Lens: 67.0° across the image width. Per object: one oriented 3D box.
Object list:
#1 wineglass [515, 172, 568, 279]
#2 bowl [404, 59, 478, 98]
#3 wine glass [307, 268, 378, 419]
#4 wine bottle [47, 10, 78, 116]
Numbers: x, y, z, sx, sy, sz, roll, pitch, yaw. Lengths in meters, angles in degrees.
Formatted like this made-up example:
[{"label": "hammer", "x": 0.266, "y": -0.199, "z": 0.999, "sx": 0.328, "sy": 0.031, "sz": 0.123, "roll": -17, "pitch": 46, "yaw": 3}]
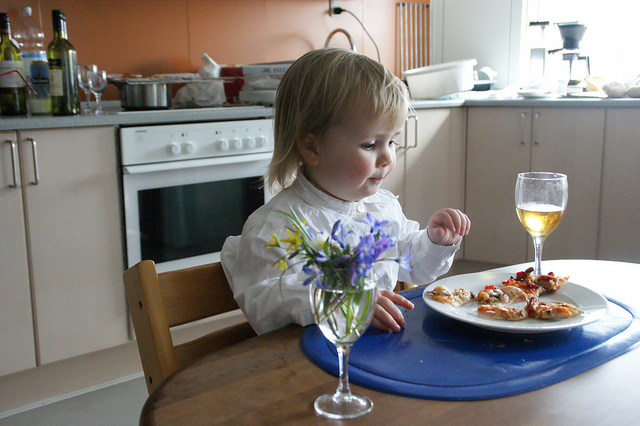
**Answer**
[{"label": "wineglass", "x": 0.513, "y": 0.036, "z": 1.131, "sx": 0.095, "sy": 0.257, "sz": 0.108, "roll": -3, "pitch": 9, "yaw": -21}, {"label": "bowl", "x": 0.755, "y": -0.829, "z": 3.012, "sx": 0.370, "sy": 0.153, "sz": 0.335, "roll": -21, "pitch": 11, "yaw": 0}, {"label": "wine glass", "x": 0.038, "y": 0.188, "z": 0.748, "sx": 0.105, "sy": 0.239, "sz": 0.080, "roll": -3, "pitch": 14, "yaw": 3}, {"label": "wine bottle", "x": -1.098, "y": -0.630, "z": 2.056, "sx": 0.105, "sy": 0.432, "sz": 0.109, "roll": 3, "pitch": 13, "yaw": -1}]
